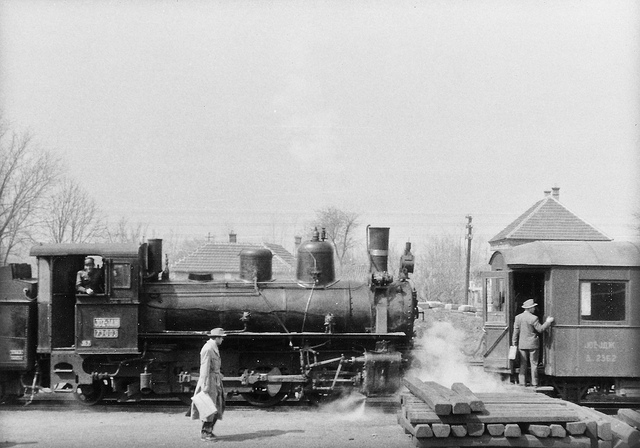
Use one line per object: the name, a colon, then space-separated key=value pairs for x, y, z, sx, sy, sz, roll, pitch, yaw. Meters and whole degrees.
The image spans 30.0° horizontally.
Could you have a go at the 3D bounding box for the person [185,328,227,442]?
person: x=-3.064 y=4.357 z=32.681 sx=0.702 sy=2.986 sz=0.870 roll=-4 pitch=-7 yaw=27

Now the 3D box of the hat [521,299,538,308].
hat: x=6.401 y=2.418 z=36.346 sx=0.433 sy=0.262 sz=0.744 roll=-2 pitch=-6 yaw=10

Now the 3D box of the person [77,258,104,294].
person: x=-6.833 y=1.598 z=35.549 sx=0.809 sy=1.059 sz=0.699 roll=-6 pitch=-26 yaw=-1

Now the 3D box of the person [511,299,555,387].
person: x=6.348 y=3.572 z=35.990 sx=0.532 sy=2.557 sz=1.327 roll=4 pitch=-8 yaw=-41
